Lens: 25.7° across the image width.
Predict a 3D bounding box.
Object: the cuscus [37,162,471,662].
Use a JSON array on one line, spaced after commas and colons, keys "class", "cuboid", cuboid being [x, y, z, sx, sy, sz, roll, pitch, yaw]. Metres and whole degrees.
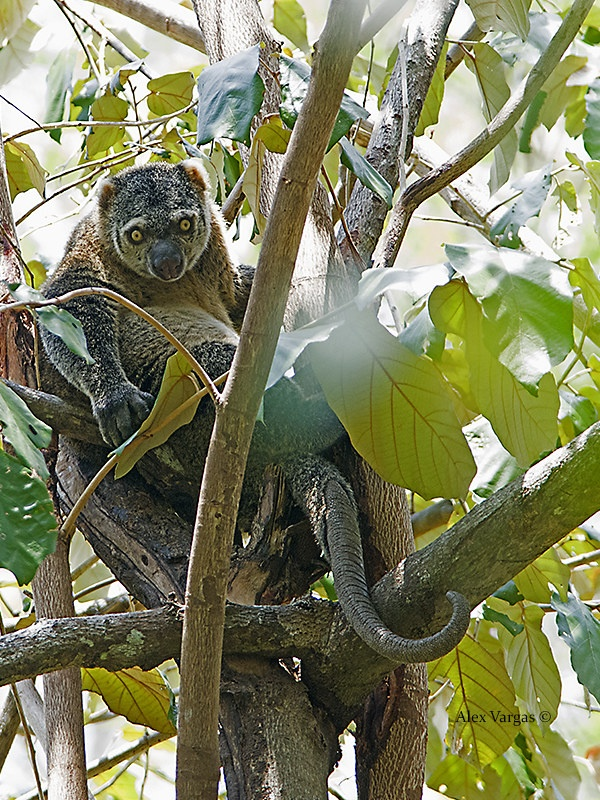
[{"class": "cuscus", "cuboid": [-0.177, -0.028, 3.330, 1.617, 0.746, 0.694, 27, 12, 41]}]
